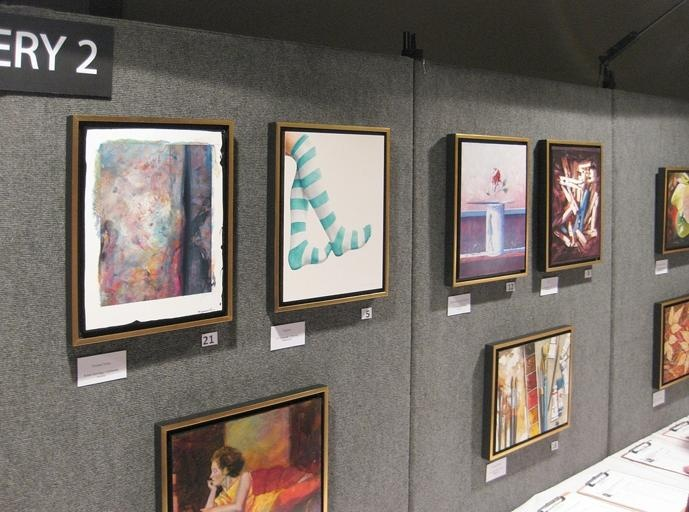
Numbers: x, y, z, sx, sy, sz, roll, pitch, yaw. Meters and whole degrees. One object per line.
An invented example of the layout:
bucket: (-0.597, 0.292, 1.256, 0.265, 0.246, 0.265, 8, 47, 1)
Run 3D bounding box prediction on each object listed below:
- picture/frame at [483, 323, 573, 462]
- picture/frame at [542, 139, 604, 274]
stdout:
picture/frame: (0.903, 0.663, 2.964, 0.747, 0.678, 0.075, -5, 8, -35)
picture/frame: (1.166, -0.275, 3.054, 0.718, 0.814, 0.082, -3, 3, -39)
